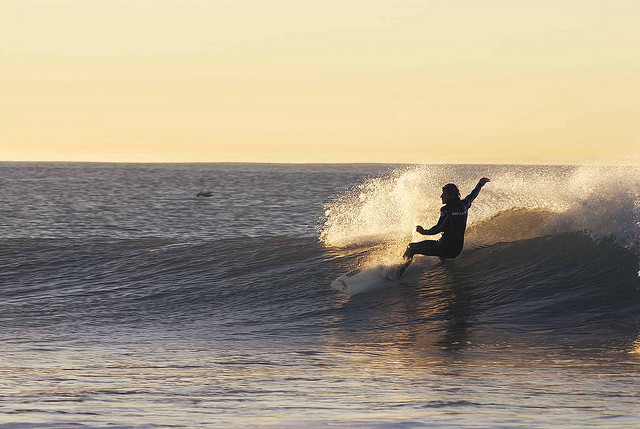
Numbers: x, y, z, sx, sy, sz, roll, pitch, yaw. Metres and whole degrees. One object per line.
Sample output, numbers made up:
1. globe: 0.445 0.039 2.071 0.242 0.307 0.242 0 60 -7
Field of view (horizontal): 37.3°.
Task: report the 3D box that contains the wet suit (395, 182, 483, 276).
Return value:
1. wet suit: 3.099 0.234 23.431 1.557 1.661 0.938 0 1 -9
